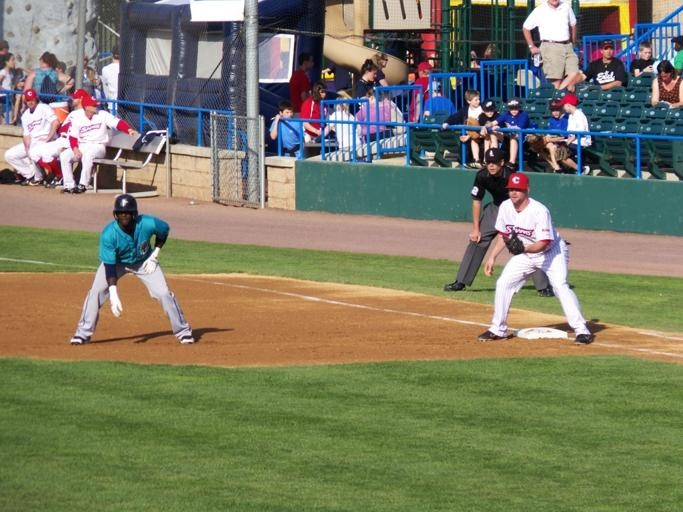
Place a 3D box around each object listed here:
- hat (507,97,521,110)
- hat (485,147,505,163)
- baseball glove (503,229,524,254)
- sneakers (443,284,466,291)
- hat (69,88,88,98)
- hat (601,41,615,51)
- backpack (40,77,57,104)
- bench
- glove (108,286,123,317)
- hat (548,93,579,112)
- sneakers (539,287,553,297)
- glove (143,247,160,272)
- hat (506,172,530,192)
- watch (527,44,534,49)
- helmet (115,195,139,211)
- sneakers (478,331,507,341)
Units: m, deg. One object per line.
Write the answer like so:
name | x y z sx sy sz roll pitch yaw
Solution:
hat | 3.320 -2.872 29.215 0.231 0.238 0.355 1 3 5
hat | 2.319 -1.503 23.103 0.254 0.233 0.245 1 3 4
baseball glove | 2.399 -0.186 21.149 0.153 0.326 0.235 -16 -19 -9
sneakers | 1.796 0.495 24.214 0.271 0.112 0.138 3 4 -7
hat | -5.840 -3.567 33.821 0.445 0.242 0.320 7 12 22
hat | 5.381 -4.218 30.792 0.260 0.119 0.364 -2 6 1
backpack | -7.137 -4.063 37.197 0.432 0.706 0.172 1 -7 -2
bench | -5.063 -2.021 34.734 1.116 0.811 2.244 27 -13 -23
glove | -3.097 0.567 20.889 0.212 0.570 0.173 -11 -41 -1
hat | 4.210 -2.900 28.960 0.546 0.274 0.359 1 11 35
sneakers | 3.228 0.573 24.088 0.180 0.137 0.131 -18 20 -25
glove | -2.613 0.053 21.110 0.173 0.334 0.244 2 3 14
hat | 2.437 -1.011 21.005 0.278 0.248 0.349 1 3 5
watch | 3.879 -4.235 31.088 0.117 0.115 0.030 4 8 39
helmet | -2.928 -0.712 20.796 0.292 0.223 0.321 2 3 18
sneakers | 2.128 1.128 21.411 0.329 0.146 0.164 6 1 -9
